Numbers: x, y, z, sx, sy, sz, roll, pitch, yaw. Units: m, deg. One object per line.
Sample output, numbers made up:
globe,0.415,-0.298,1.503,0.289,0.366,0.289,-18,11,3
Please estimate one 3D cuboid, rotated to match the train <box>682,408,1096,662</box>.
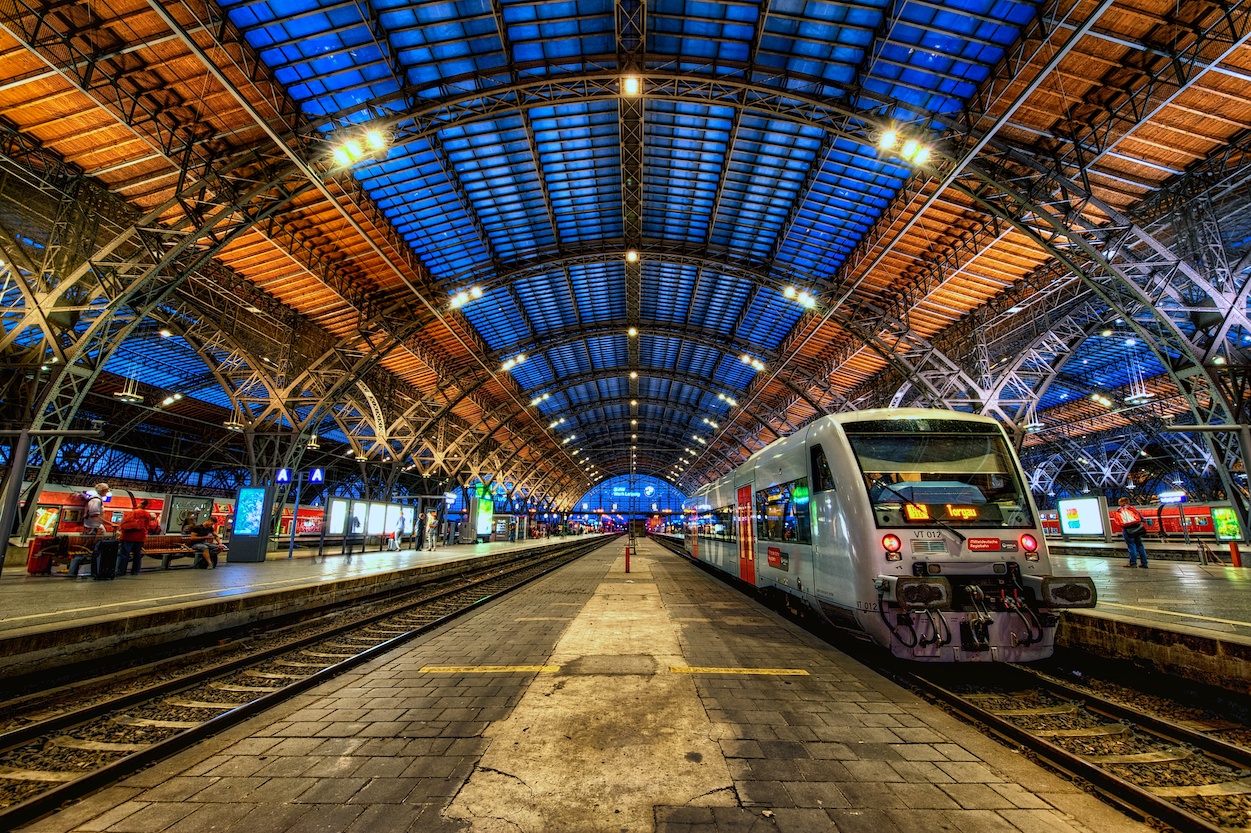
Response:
train,5.068,2.336,11.807,3.223,5.200,6.182,-3,11,-15
